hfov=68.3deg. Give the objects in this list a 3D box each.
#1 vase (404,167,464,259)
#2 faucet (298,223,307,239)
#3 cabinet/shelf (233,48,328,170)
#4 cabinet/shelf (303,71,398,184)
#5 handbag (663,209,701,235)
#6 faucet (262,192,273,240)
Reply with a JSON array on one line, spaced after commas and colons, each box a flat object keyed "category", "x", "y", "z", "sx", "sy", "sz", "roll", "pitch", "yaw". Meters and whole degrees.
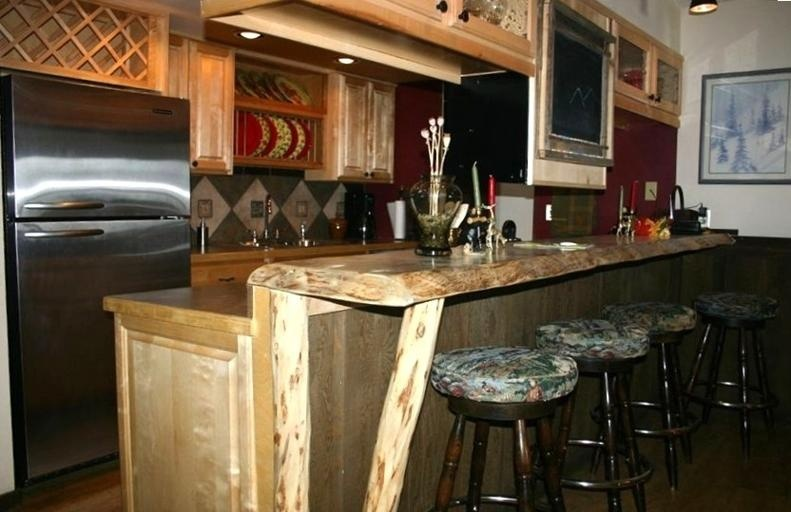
[{"category": "vase", "x": 0.173, "y": -0.166, "z": 2.700, "sx": 0.250, "sy": 0.337, "sz": 0.241, "roll": 1, "pitch": -3, "yaw": -21}, {"category": "faucet", "x": -0.870, "y": -0.227, "z": 5.363, "sx": 0.046, "sy": 0.039, "sz": 0.159, "roll": 7, "pitch": 40, "yaw": -5}, {"category": "cabinet/shelf", "x": -0.998, "y": -1.176, "z": 4.943, "sx": 0.225, "sy": 0.813, "sz": 0.890, "roll": 3, "pitch": 4, "yaw": 35}, {"category": "cabinet/shelf", "x": -0.442, "y": -1.172, "z": 5.232, "sx": 0.523, "sy": 1.085, "sz": 0.947, "roll": 2, "pitch": 2, "yaw": 40}, {"category": "handbag", "x": 2.181, "y": -0.256, "z": 4.335, "sx": 0.229, "sy": 0.178, "sz": 0.218, "roll": 1, "pitch": 7, "yaw": 25}, {"category": "faucet", "x": -1.130, "y": -0.343, "z": 5.131, "sx": 0.039, "sy": 0.413, "sz": 0.119, "roll": 3, "pitch": 8, "yaw": 36}]
